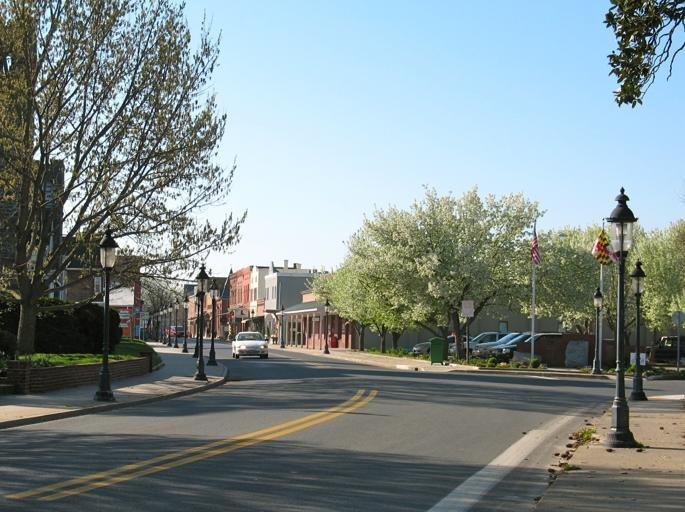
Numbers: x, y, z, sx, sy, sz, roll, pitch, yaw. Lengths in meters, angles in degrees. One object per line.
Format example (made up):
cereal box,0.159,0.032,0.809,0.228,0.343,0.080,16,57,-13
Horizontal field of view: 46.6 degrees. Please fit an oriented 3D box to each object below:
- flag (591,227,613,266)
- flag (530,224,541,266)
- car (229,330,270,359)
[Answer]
flag,12.150,-0.308,36.787,0.731,2.006,1.062,-1,-20,7
flag,9.618,-0.560,39.575,0.377,2.030,1.814,-2,-9,14
car,-5.619,5.435,48.415,2.064,1.693,2.242,2,-10,-11
